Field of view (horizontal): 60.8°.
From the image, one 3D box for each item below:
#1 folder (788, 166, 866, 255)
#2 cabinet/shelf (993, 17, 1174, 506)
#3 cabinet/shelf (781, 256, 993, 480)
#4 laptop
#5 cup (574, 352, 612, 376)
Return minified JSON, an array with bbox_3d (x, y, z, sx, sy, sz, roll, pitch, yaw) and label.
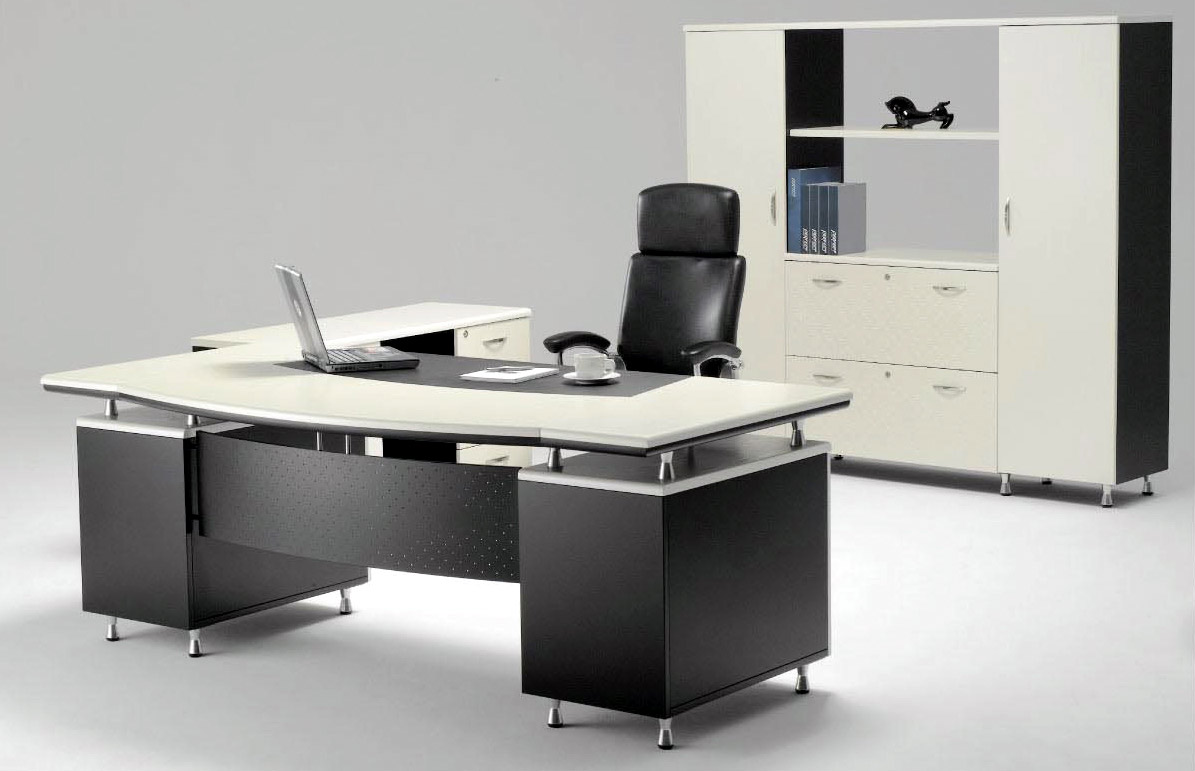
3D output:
[{"bbox_3d":[1.430,-1.060,6.473,0.517,0.634,0.700,5,12,31],"label":"folder"},{"bbox_3d":[2.667,-0.660,5.560,1.007,2.565,0.593,1,12,11],"label":"cabinet/shelf"},{"bbox_3d":[2.110,-0.137,6.344,1.151,1.294,1.544,-11,13,-44],"label":"cabinet/shelf"},{"bbox_3d":[-1.011,-0.255,4.176,0.525,0.411,0.519,-4,10,-22],"label":"laptop"},{"bbox_3d":[-0.023,-0.078,3.809,0.093,0.076,0.125,0,1,22],"label":"cup"}]
